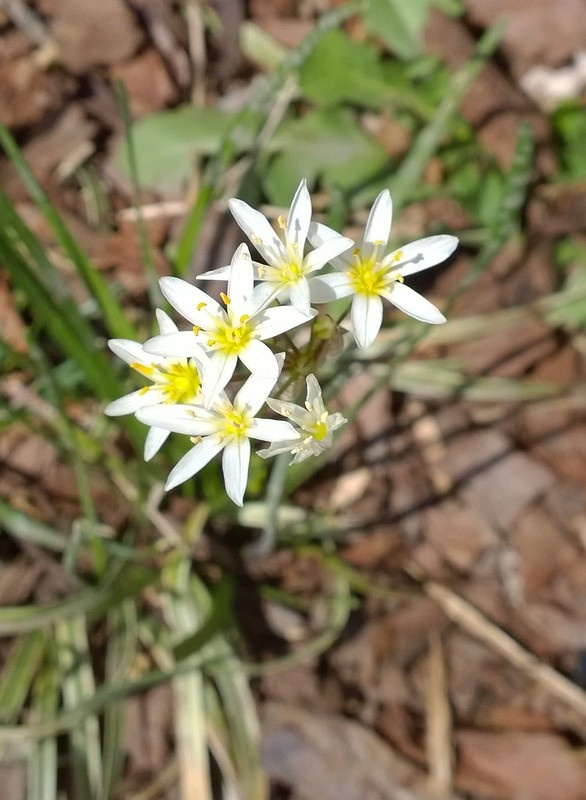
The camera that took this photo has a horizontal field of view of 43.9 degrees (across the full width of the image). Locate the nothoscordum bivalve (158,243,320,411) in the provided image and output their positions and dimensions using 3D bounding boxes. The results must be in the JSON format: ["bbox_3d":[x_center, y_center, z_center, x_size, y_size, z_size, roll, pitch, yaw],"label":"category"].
[{"bbox_3d":[-0.162,-0.178,1.769,0.352,0.098,0.333,-28,-3,29],"label":"nothoscordum bivalve"}]

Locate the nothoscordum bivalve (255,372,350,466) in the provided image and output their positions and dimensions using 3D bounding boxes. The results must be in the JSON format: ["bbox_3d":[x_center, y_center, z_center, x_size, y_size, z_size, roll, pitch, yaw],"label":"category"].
[{"bbox_3d":[0.037,0.036,1.742,0.212,0.103,0.229,11,28,25],"label":"nothoscordum bivalve"}]

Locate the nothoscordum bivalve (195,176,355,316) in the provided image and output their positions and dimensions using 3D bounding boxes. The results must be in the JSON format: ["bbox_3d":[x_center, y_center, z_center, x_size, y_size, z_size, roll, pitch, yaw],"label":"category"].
[{"bbox_3d":[0.017,-0.395,1.823,0.323,0.130,0.324,1,-8,21],"label":"nothoscordum bivalve"}]
